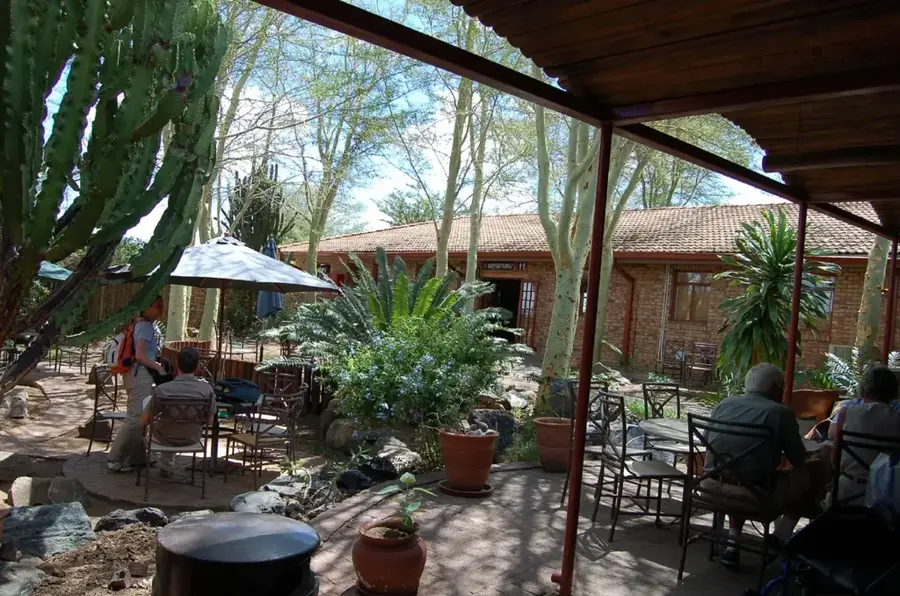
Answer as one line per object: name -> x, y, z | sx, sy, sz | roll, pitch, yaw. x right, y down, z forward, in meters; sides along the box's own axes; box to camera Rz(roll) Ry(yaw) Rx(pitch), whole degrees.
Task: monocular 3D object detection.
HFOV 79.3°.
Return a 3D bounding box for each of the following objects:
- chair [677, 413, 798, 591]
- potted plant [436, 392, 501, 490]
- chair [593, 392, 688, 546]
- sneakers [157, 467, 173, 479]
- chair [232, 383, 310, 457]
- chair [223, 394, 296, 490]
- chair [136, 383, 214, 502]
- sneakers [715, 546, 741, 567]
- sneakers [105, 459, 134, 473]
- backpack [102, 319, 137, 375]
chair -> 2.700, 1.806, 5.222 | 0.841, 1.458, 1.599 | 5, -1, 24
potted plant -> 0.218, 1.911, 6.722 | 0.817, 0.810, 0.786 | 2, -4, 4
chair -> 2.158, 1.791, 5.891 | 0.886, 1.125, 0.840 | -1, -3, 44
sneakers -> -3.769, 2.218, 7.176 | 0.131, 0.163, 0.229 | -7, 8, -39
chair -> -2.538, 1.879, 7.645 | 0.774, 1.124, 0.708 | 3, -4, 33
chair -> -2.618, 1.909, 7.634 | 0.760, 1.175, 0.815 | 7, -7, -41
chair -> -3.482, 1.714, 6.961 | 0.964, 1.320, 0.997 | 9, 6, -3
sneakers -> 2.631, 2.416, 5.081 | 0.125, 0.114, 0.282 | -1, -3, 19
sneakers -> -4.435, 2.226, 7.273 | 0.331, 0.121, 0.137 | 5, 8, 7
backpack -> -4.409, 0.654, 7.264 | 0.602, 0.722, 0.233 | 4, -1, 44
